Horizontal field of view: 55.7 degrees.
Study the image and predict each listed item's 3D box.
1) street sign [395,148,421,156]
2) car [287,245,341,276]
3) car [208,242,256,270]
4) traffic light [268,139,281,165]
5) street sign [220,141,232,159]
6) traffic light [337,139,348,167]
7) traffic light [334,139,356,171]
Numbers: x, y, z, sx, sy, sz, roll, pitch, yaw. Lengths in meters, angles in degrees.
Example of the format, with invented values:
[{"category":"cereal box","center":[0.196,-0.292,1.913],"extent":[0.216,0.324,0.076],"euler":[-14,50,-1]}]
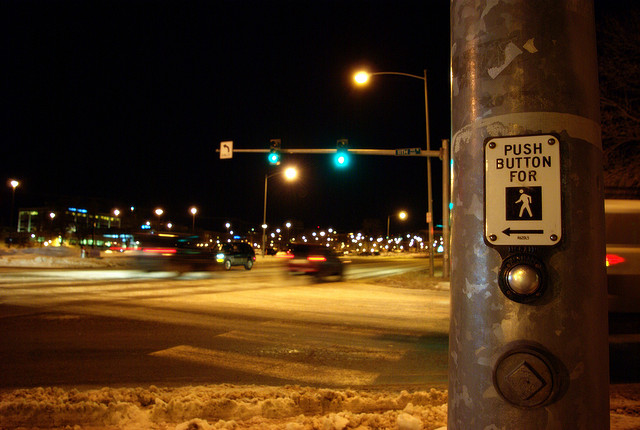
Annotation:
[{"category":"street sign","center":[3.010,-2.146,20.816],"extent":[0.865,0.192,0.288],"euler":[1,-2,22]},{"category":"car","center":[-0.300,2.050,27.440],"extent":[1.186,1.145,2.229],"euler":[-1,0,24]},{"category":"car","center":[-4.517,2.089,30.820],"extent":[1.155,1.038,2.035],"euler":[-6,-13,31]},{"category":"traffic light","center":[-1.637,-2.236,22.151],"extent":[0.402,0.888,1.041],"euler":[2,-2,-6]},{"category":"street sign","center":[-3.529,-2.410,22.718],"extent":[0.436,0.558,0.388],"euler":[2,-2,-7]},{"category":"traffic light","center":[0.772,-2.154,21.248],"extent":[0.346,0.939,0.561],"euler":[1,-2,1]},{"category":"traffic light","center":[0.797,-2.172,21.389],"extent":[0.489,0.889,0.294],"euler":[2,-1,-12]}]
